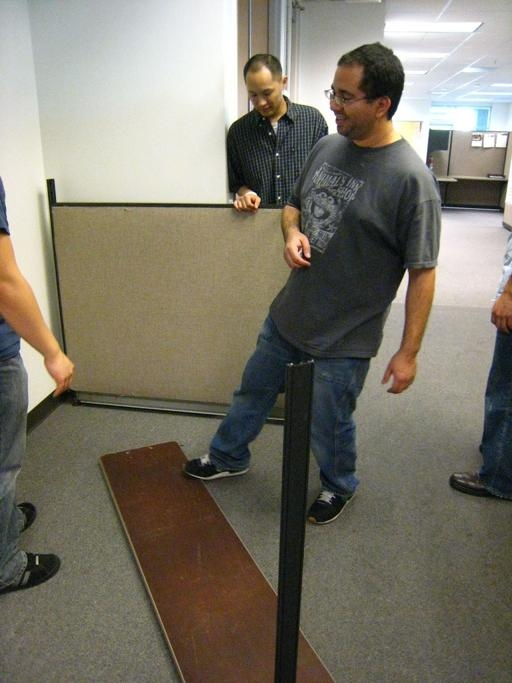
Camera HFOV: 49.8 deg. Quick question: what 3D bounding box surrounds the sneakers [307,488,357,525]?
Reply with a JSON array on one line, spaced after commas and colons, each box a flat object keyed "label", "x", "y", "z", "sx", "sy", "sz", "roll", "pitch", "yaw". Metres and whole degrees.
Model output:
[{"label": "sneakers", "x": 0.246, "y": 0.579, "z": 1.928, "sx": 0.067, "sy": 0.067, "sz": 0.181, "roll": 5, "pitch": 11, "yaw": 29}]

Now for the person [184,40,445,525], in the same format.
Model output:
[{"label": "person", "x": 0.207, "y": -0.096, "z": 1.762, "sx": 0.703, "sy": 1.498, "sz": 0.279, "roll": 17, "pitch": 29, "yaw": 36}]

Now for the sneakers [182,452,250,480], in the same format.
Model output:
[{"label": "sneakers", "x": -0.164, "y": 0.498, "z": 2.210, "sx": 0.258, "sy": 0.110, "sz": 0.091, "roll": 3, "pitch": 9, "yaw": -12}]

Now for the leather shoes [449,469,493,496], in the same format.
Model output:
[{"label": "leather shoes", "x": 0.812, "y": 0.537, "z": 2.102, "sx": 0.112, "sy": 0.045, "sz": 0.072, "roll": 17, "pitch": 17, "yaw": 18}]
